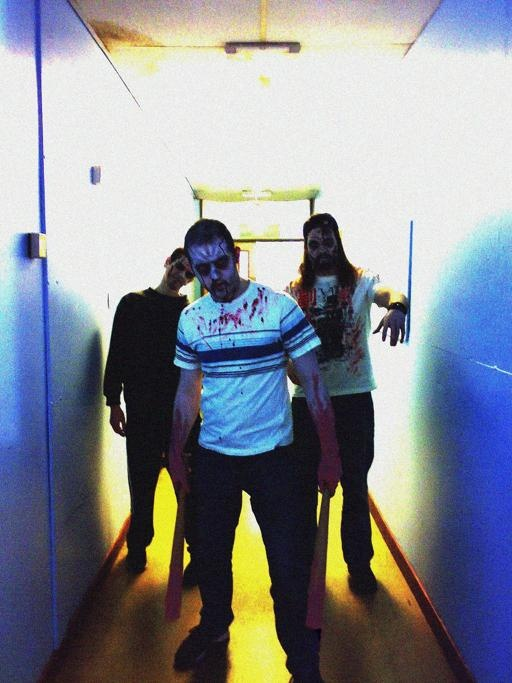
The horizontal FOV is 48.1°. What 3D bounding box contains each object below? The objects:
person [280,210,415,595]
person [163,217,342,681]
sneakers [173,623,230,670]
[{"bbox_3d":[0.314,0.254,2.102,0.407,1.441,0.439,-3,5,13],"label":"person"},{"bbox_3d":[-0.031,0.273,1.610,0.505,1.229,0.274,2,4,37],"label":"person"},{"bbox_3d":[-0.174,0.953,1.837,0.073,0.120,0.217,-7,-12,25],"label":"sneakers"}]
